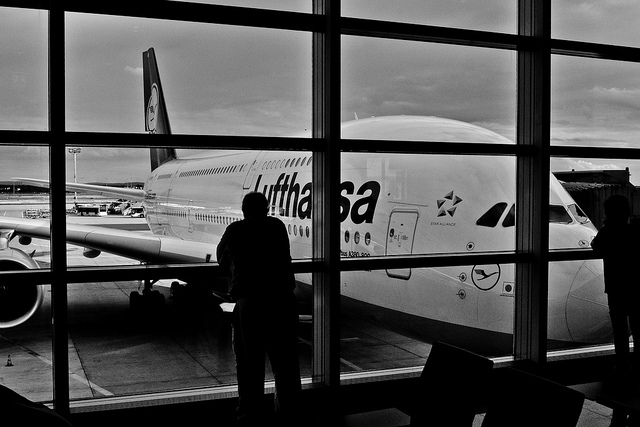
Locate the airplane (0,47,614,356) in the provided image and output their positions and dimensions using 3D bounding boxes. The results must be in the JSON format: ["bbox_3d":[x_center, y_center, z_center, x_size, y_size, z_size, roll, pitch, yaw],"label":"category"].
[{"bbox_3d":[0.346,-0.088,7.815,6.860,3.505,1.882,1,5,-12],"label":"airplane"}]

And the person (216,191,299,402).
[{"bbox_3d":[-0.598,0.830,6.249,0.827,2.090,0.266,1,5,-11],"label":"person"}]
